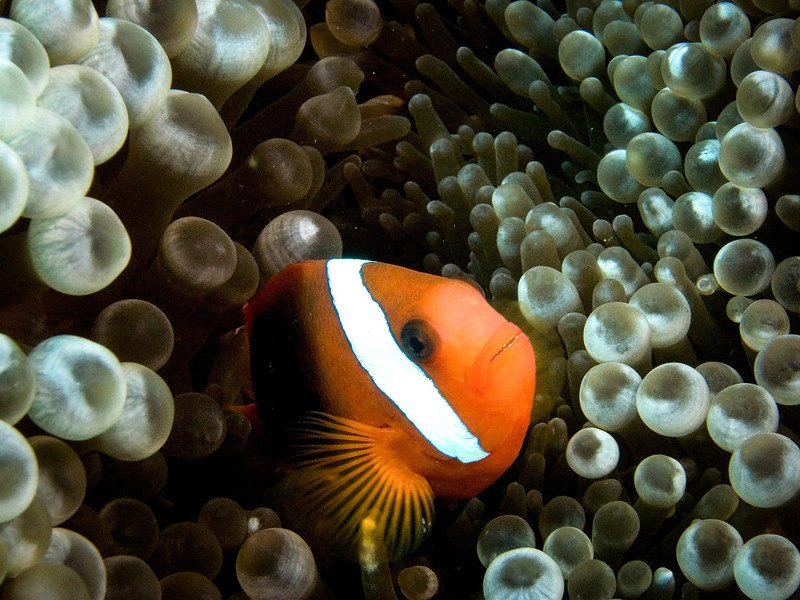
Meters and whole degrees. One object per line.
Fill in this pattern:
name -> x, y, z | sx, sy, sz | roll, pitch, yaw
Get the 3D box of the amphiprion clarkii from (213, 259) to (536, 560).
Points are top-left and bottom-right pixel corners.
amphiprion clarkii -> -0.023, 0.164, 1.519 | 0.469, 0.324, 0.423 | 3, 61, -10
